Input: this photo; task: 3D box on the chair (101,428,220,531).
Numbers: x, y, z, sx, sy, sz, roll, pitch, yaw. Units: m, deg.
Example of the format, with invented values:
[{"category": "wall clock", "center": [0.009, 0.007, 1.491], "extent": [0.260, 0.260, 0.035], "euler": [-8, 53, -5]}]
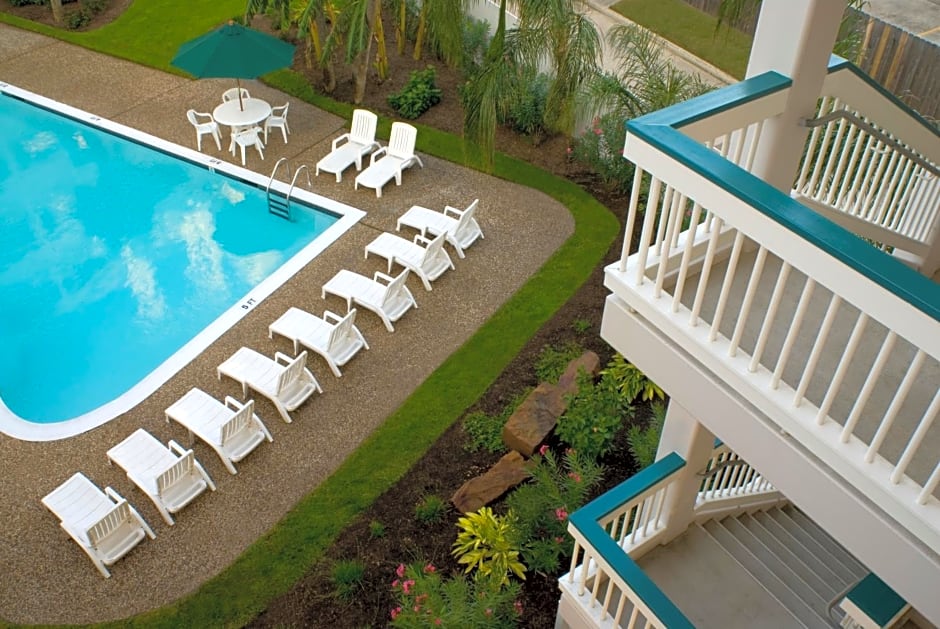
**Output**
[{"category": "chair", "center": [-5.397, 2.691, 12.827], "extent": [1.943, 0.810, 1.138], "euler": [38, 58, 19]}]

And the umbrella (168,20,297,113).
[{"category": "umbrella", "center": [-5.780, -6.307, 17.928], "extent": [2.660, 0.897, 1.458], "euler": [-8, 46, -6]}]

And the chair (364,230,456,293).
[{"category": "chair", "center": [-1.319, -1.338, 16.428], "extent": [1.795, 1.083, 1.142], "euler": [31, 57, 12]}]

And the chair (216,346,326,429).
[{"category": "chair", "center": [-3.896, 1.159, 14.308], "extent": [1.865, 1.155, 1.198], "euler": [32, 59, 16]}]

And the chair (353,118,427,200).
[{"category": "chair", "center": [-2.095, -3.913, 18.314], "extent": [1.056, 1.147, 1.861], "euler": [24, 51, 23]}]

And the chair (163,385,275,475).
[{"category": "chair", "center": [-4.611, 1.969, 13.490], "extent": [1.903, 0.855, 1.181], "euler": [39, 58, 13]}]

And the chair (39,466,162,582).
[{"category": "chair", "center": [-6.202, 3.433, 12.234], "extent": [1.964, 0.816, 1.162], "euler": [40, 59, 15]}]

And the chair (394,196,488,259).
[{"category": "chair", "center": [-0.721, -2.199, 17.044], "extent": [1.887, 1.185, 1.210], "euler": [28, 57, 11]}]

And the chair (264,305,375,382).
[{"category": "chair", "center": [-3.078, 0.235, 14.844], "extent": [1.890, 1.165, 1.187], "euler": [32, 60, 15]}]
